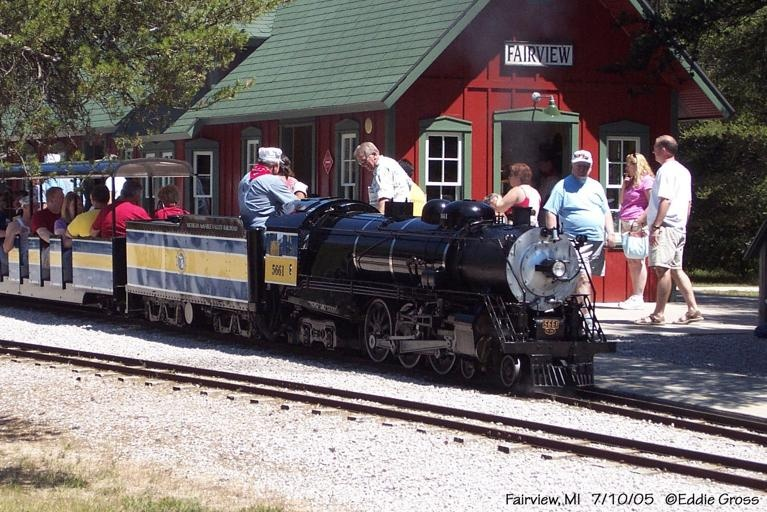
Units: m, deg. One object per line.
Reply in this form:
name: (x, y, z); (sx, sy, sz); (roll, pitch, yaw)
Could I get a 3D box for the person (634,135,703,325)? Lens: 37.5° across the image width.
person: (4.924, -0.393, 19.377); (0.923, 3.263, 1.231); (2, 8, 16)

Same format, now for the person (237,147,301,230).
person: (-1.960, -0.993, 18.707); (0.882, 1.573, 0.759); (6, 17, 8)

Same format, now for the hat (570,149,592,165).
hat: (3.140, -1.541, 17.953); (0.306, 0.213, 0.525); (3, 0, 6)

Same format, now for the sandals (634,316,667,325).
sandals: (4.658, 1.141, 19.710); (0.387, 0.176, 0.225); (3, -2, 6)

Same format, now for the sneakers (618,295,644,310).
sneakers: (4.823, 0.917, 21.961); (0.204, 0.321, 0.559); (-1, 0, -31)

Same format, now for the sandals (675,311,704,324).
sandals: (5.354, 1.078, 19.701); (0.484, 0.273, 0.213); (0, 1, 4)

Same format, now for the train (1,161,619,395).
train: (-1.564, 0.178, 18.172); (10.882, 2.959, 1.188); (7, 10, 39)

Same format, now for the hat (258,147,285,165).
hat: (-1.877, -1.649, 18.636); (0.412, 0.304, 0.323); (-5, 11, -33)

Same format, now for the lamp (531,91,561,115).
lamp: (3.321, -3.088, 23.111); (0.711, 0.519, 0.488); (-2, 8, -13)
